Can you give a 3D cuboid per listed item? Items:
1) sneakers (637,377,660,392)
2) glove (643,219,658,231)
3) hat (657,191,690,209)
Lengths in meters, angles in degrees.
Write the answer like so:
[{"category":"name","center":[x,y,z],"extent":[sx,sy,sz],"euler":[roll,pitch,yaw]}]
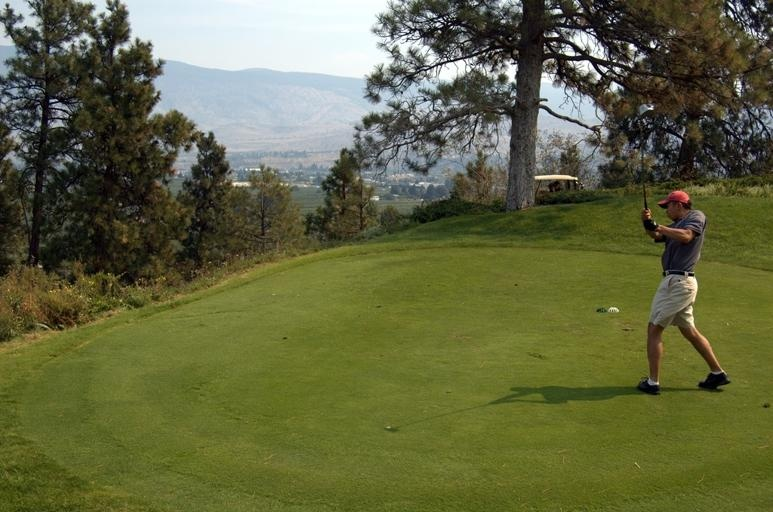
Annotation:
[{"category":"sneakers","center":[4.968,2.446,13.781],"extent":[0.425,0.269,0.272],"euler":[-1,13,17]},{"category":"glove","center":[5.081,-0.608,14.069],"extent":[0.204,0.246,0.246],"euler":[-7,-4,-35]},{"category":"hat","center":[5.726,-1.144,14.416],"extent":[0.672,0.342,0.427],"euler":[3,4,22]}]
